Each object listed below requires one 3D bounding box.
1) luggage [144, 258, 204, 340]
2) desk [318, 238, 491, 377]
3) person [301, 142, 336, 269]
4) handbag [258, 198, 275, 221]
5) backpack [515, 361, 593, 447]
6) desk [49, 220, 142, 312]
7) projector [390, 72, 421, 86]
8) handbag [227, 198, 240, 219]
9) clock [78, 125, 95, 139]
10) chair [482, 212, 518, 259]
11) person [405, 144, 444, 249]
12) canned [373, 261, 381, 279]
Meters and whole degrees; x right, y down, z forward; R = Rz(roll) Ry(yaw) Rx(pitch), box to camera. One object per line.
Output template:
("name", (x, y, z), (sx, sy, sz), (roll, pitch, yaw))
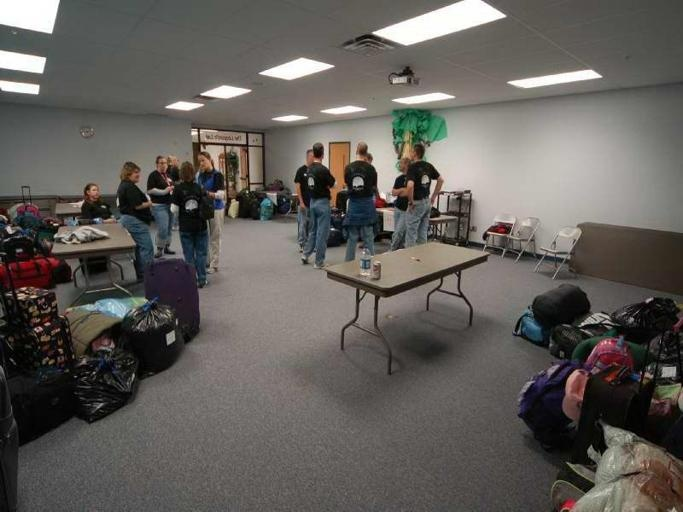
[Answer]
("luggage", (-1.924, 0.420, 4.820), (0.508, 0.910, 0.299), (-9, 27, -16))
("desk", (0.772, 0.471, 4.679), (1.124, 1.110, 1.929), (10, 13, 40))
("person", (-0.359, -0.831, 6.895), (0.443, 2.009, 0.787), (-1, 9, -14))
("handbag", (-2.113, -1.397, 12.088), (0.414, 0.641, 0.560), (0, 10, -14))
("backpack", (1.731, 1.150, 3.439), (0.518, 0.591, 0.425), (-7, 9, 41))
("desk", (-3.356, 0.064, 5.785), (0.918, 0.837, 1.745), (-7, 19, -33))
("projector", (0.875, -2.470, 5.771), (0.332, 0.174, 0.248), (8, 12, 35))
("handbag", (-3.225, -1.457, 12.724), (0.244, 0.664, 0.476), (-9, 20, -35))
("clock", (-6.140, -3.052, 10.222), (0.330, 0.310, 0.056), (-6, 12, -39))
("chair", (3.148, -0.466, 8.338), (0.623, 1.096, 0.758), (10, 18, 44))
("person", (1.287, -0.985, 6.796), (0.405, 1.616, 0.914), (8, 11, 36))
("canned", (0.348, 0.123, 4.052), (0.085, 0.146, 0.203), (2, 10, 3))
